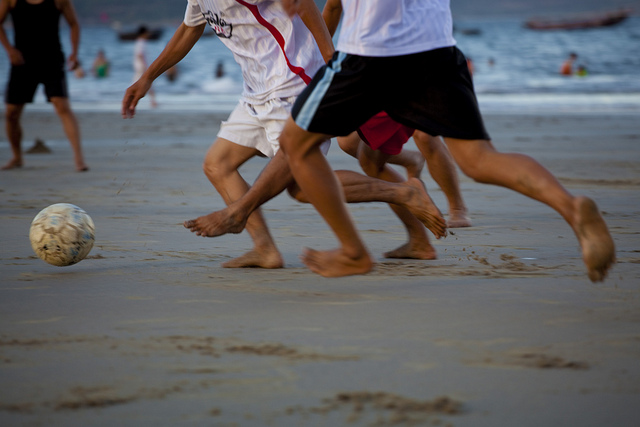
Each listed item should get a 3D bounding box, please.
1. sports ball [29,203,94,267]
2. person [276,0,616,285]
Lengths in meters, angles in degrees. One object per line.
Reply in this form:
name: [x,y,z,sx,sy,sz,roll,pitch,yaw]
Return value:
sports ball: [-1.745,0.146,6.174,0.566,0.423,0.468,3,5,8]
person: [0.627,-0.417,5.415,1.740,1.676,0.843,3,30,-2]
